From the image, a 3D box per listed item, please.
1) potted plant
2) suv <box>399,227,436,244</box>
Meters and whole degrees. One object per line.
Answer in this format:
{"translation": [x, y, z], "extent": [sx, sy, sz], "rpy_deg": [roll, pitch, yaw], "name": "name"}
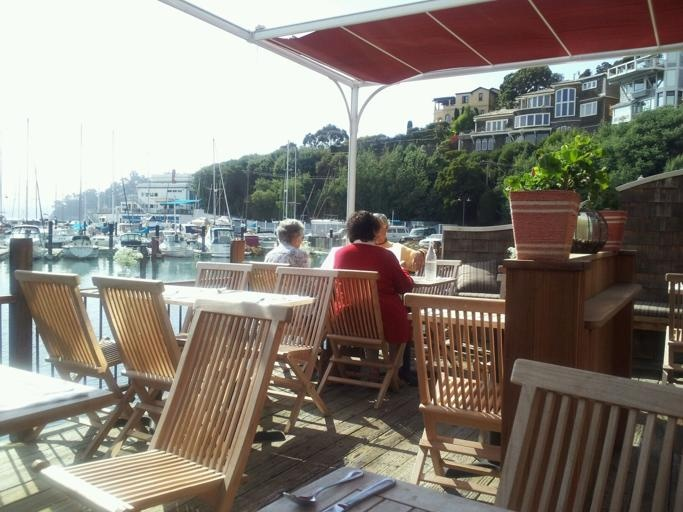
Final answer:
{"translation": [1.290, -0.338, 3.091], "extent": [0.618, 0.979, 0.702], "rpy_deg": [0, -5, 28], "name": "potted plant"}
{"translation": [8.250, -2.271, 58.040], "extent": [3.454, 1.948, 2.106], "rpy_deg": [-2, 1, -22], "name": "suv"}
